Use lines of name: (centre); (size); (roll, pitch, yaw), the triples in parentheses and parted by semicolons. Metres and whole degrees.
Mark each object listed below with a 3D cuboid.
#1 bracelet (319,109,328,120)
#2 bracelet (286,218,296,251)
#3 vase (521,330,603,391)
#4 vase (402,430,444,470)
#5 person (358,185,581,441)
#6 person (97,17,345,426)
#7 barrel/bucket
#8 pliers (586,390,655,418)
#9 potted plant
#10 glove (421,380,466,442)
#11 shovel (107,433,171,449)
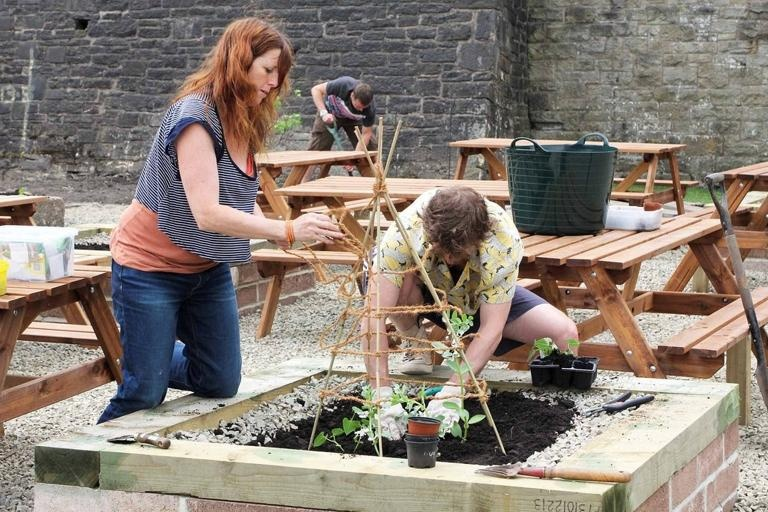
bracelet: (-0.732, -1.687, 9.223); (0.103, 0.124, 0.129); (18, 31, -15)
bracelet: (-0.378, -0.078, 3.108); (0.046, 0.088, 0.091); (-7, 19, 3)
vase: (0.848, 0.504, 3.629); (0.342, 0.192, 0.245); (1, 4, 18)
vase: (0.134, 0.694, 2.703); (0.131, 0.083, 0.121); (0, -4, -1)
person: (0.312, 0.221, 3.491); (0.812, 1.087, 1.136); (8, 10, 39)
person: (-0.754, -0.129, 3.323); (0.939, 1.748, 0.477); (2, 9, 7)
barrel/bucket: (1.035, -0.408, 4.541); (0.652, 0.505, 0.727); (3, 4, 40)
pliers: (1.039, 0.646, 3.326); (0.247, 0.028, 0.128); (-11, 9, -26)
potted plant: (0.130, 0.660, 3.331); (0.265, 0.090, 0.297); (2, 0, 9)
glove: (0.270, 0.656, 3.265); (0.114, 0.162, 0.252); (-15, 21, -7)
shovel: (-0.903, 0.703, 2.897); (0.156, 0.026, 0.091); (3, -4, 21)
